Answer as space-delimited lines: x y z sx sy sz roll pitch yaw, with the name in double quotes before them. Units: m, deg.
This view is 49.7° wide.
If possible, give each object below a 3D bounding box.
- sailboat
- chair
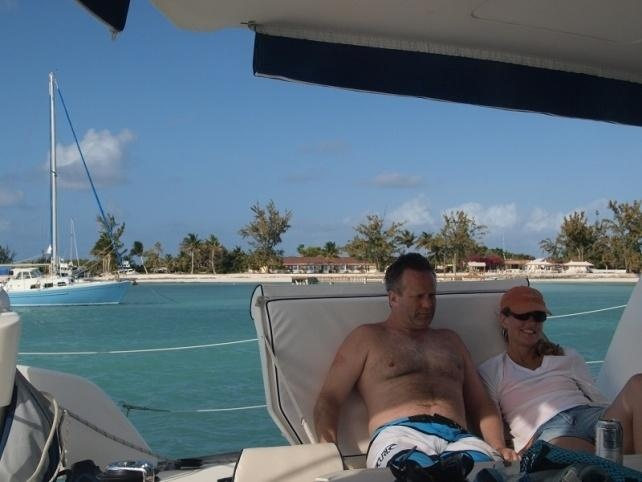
"sailboat" -11.543 -2.090 30.459 3.476 9.737 5.634 1 -1 14
"chair" 0.285 0.566 4.150 1.437 1.018 1.492 -1 -2 -26
